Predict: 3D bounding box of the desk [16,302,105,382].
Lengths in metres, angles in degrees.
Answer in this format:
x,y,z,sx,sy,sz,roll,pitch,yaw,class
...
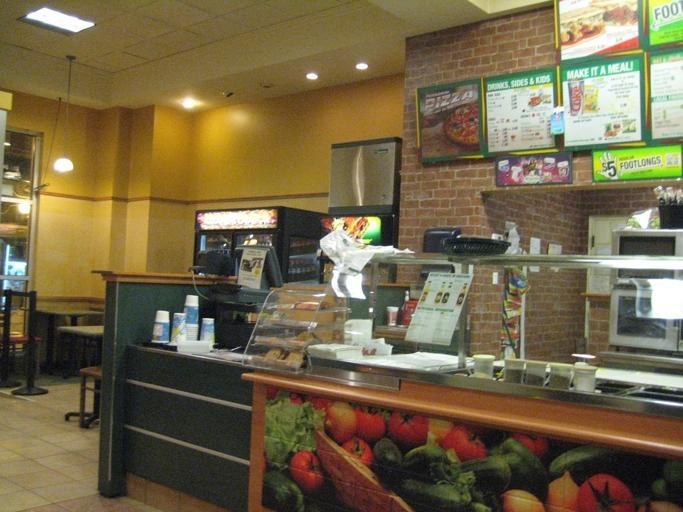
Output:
x,y,z,sx,sy,sz,roll,pitch,yaw,class
-4.323,1.245,9.029,1.360,1.088,1.323,2,-2,-38,desk

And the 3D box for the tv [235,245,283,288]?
x,y,z,sx,sy,sz,roll,pitch,yaw,class
-0.685,0.082,4.559,0.462,0.383,0.256,5,3,37,tv

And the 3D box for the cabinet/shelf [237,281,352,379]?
x,y,z,sx,sy,sz,roll,pitch,yaw,class
-0.222,0.475,3.515,0.462,0.503,0.602,8,-9,-37,cabinet/shelf

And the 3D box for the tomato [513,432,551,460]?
x,y,z,sx,sy,sz,roll,pitch,yaw,class
0.859,0.845,2.517,0.124,0.093,0.109,2,-2,-2,tomato

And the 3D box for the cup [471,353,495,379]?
x,y,z,sx,sy,sz,roll,pitch,yaw,class
0.698,0.537,2.741,0.108,0.091,0.108,0,-4,0,cup

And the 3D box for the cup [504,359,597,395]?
x,y,z,sx,sy,sz,roll,pitch,yaw,class
0.949,0.542,2.577,0.394,0.117,0.083,0,-1,26,cup

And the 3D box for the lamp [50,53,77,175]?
x,y,z,sx,sy,sz,roll,pitch,yaw,class
-4.362,-2.132,8.739,0.311,1.687,1.146,1,-1,-25,lamp
